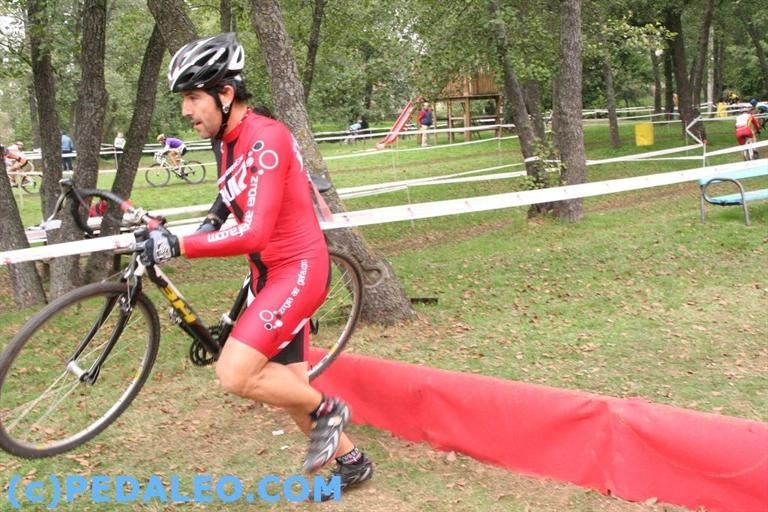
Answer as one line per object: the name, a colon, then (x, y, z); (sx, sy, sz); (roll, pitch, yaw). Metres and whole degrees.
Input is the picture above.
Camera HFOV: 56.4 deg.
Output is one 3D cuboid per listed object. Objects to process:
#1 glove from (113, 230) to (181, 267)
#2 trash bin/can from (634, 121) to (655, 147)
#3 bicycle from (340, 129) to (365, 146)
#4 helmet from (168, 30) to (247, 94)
glove: (-1.924, -0.085, 5.863); (0.700, 0.281, 0.187); (2, 11, 41)
trash bin/can: (10.845, -5.096, 29.833); (0.677, 0.970, 1.188); (-3, 8, 16)
bicycle: (-1.941, -7.453, 44.809); (1.755, 0.373, 1.111); (19, 43, 31)
helmet: (-1.392, -1.516, 5.799); (0.437, 0.204, 0.603); (37, 58, 26)
